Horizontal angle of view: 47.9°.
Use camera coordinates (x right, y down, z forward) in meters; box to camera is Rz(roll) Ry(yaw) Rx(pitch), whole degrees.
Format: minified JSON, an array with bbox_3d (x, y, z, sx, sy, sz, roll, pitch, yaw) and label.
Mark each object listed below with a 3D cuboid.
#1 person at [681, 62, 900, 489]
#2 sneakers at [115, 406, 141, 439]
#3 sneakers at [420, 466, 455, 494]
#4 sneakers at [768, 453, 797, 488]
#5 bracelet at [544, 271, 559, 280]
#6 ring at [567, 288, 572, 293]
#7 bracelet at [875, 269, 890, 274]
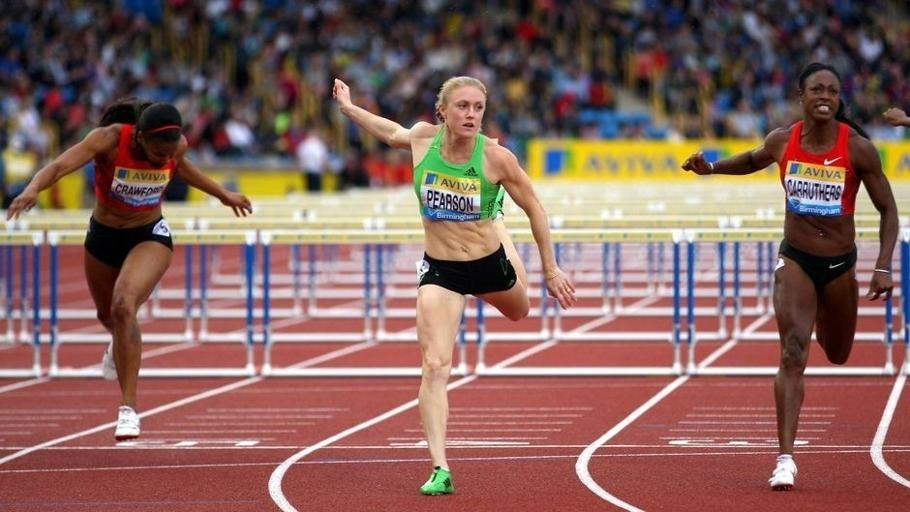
[{"bbox_3d":[3.302,0.041,9.290,1.253,3.521,1.271,-3,11,-9],"label":"person"},{"bbox_3d":[-3.086,1.586,9.615,0.195,0.296,0.234,-2,11,-8],"label":"sneakers"},{"bbox_3d":[-0.144,1.977,8.882,0.357,0.212,0.177,-3,-15,7],"label":"sneakers"},{"bbox_3d":[2.867,1.901,8.927,0.207,0.299,0.161,2,11,13],"label":"sneakers"},{"bbox_3d":[0.851,0.169,8.922,0.098,0.064,0.090,-2,-1,-16],"label":"bracelet"},{"bbox_3d":[0.993,0.304,8.863,0.065,0.018,0.029,8,21,-7],"label":"ring"},{"bbox_3d":[3.793,0.140,9.035,0.144,0.048,0.061,-3,11,-12],"label":"bracelet"}]
